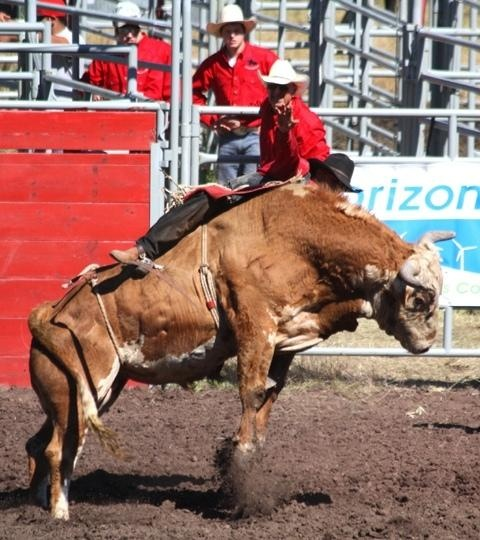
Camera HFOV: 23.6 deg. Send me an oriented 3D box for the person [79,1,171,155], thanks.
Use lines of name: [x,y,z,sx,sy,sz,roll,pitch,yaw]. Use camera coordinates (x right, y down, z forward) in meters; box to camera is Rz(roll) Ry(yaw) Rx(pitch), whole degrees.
person: [-0.979,-2.015,10.729,0.817,0.919,1.382,-5,13,-18]

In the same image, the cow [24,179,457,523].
cow: [-0.061,0.527,7.774,3.047,2.529,1.092,-10,16,0]

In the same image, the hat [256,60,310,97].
hat: [0.301,-1.219,7.381,0.205,0.110,0.269,7,-18,13]

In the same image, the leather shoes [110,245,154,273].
leather shoes: [-0.655,-0.052,7.181,0.291,0.156,0.116,25,-6,-25]

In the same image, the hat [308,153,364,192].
hat: [0.625,-0.649,7.600,0.271,0.117,0.238,31,5,9]
